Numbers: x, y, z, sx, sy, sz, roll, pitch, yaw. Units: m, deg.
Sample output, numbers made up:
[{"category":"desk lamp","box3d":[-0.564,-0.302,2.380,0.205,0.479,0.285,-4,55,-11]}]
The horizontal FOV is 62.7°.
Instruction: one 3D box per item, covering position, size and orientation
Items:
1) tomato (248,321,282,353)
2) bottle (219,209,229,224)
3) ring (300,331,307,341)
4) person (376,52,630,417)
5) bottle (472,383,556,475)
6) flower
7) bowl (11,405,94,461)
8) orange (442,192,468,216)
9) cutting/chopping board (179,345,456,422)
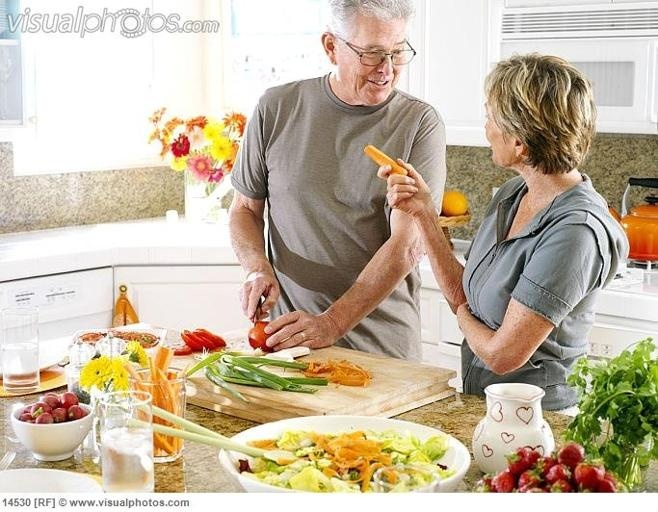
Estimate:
[{"category":"tomato","box3d":[-0.219,0.257,1.750,0.088,0.104,0.087,4,11,21]},{"category":"bottle","box3d":[-0.685,-0.251,3.530,0.047,0.095,0.107,0,9,-12]},{"category":"ring","box3d":[-0.082,0.253,1.718,0.008,0.022,0.017,-23,-20,26]},{"category":"person","box3d":[0.523,-0.050,1.566,0.446,0.988,0.552,-2,10,-26]},{"category":"bottle","box3d":[0.358,0.307,1.085,0.177,0.172,0.151,3,6,42]},{"category":"flower","box3d":[-0.808,-0.689,3.623,0.647,0.539,0.638,6,11,7]},{"category":"bowl","box3d":[-0.561,0.371,1.112,0.139,0.079,0.141,0,-5,0]},{"category":"orange","box3d":[0.747,-0.308,3.149,0.155,0.154,0.144,1,8,1]},{"category":"cutting/chopping board","box3d":[-0.024,0.352,1.503,0.657,0.088,0.463,-4,10,-34]}]
